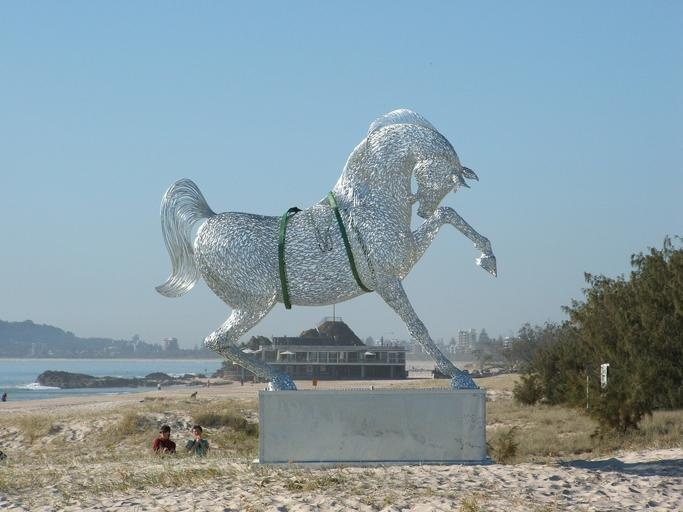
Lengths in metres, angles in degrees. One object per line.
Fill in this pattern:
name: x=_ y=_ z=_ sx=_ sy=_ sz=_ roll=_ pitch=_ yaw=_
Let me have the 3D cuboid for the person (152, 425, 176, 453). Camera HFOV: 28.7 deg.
person: x=-6.721 y=6.872 z=50.189 sx=0.824 sy=1.105 sz=1.186 roll=-3 pitch=-10 yaw=-9
